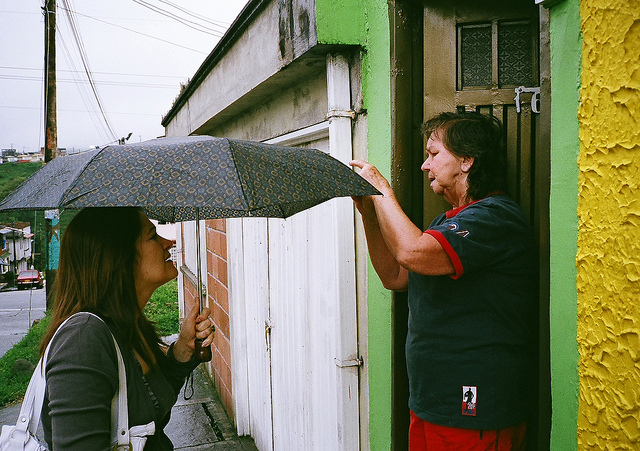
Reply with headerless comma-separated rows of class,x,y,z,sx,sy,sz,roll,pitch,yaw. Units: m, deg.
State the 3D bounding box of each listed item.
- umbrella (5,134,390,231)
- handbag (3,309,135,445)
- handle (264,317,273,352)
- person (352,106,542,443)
umbrella,-0.585,-0.247,2.985,1.642,0.337,0.557,-2,4,2
handbag,-1.188,0.717,2.984,0.594,0.631,0.242,-1,3,10
handle,-0.429,0.898,5.391,0.030,0.292,0.208,-3,3,-15
person,0.678,0.288,3.345,0.870,1.740,0.626,-1,3,16
